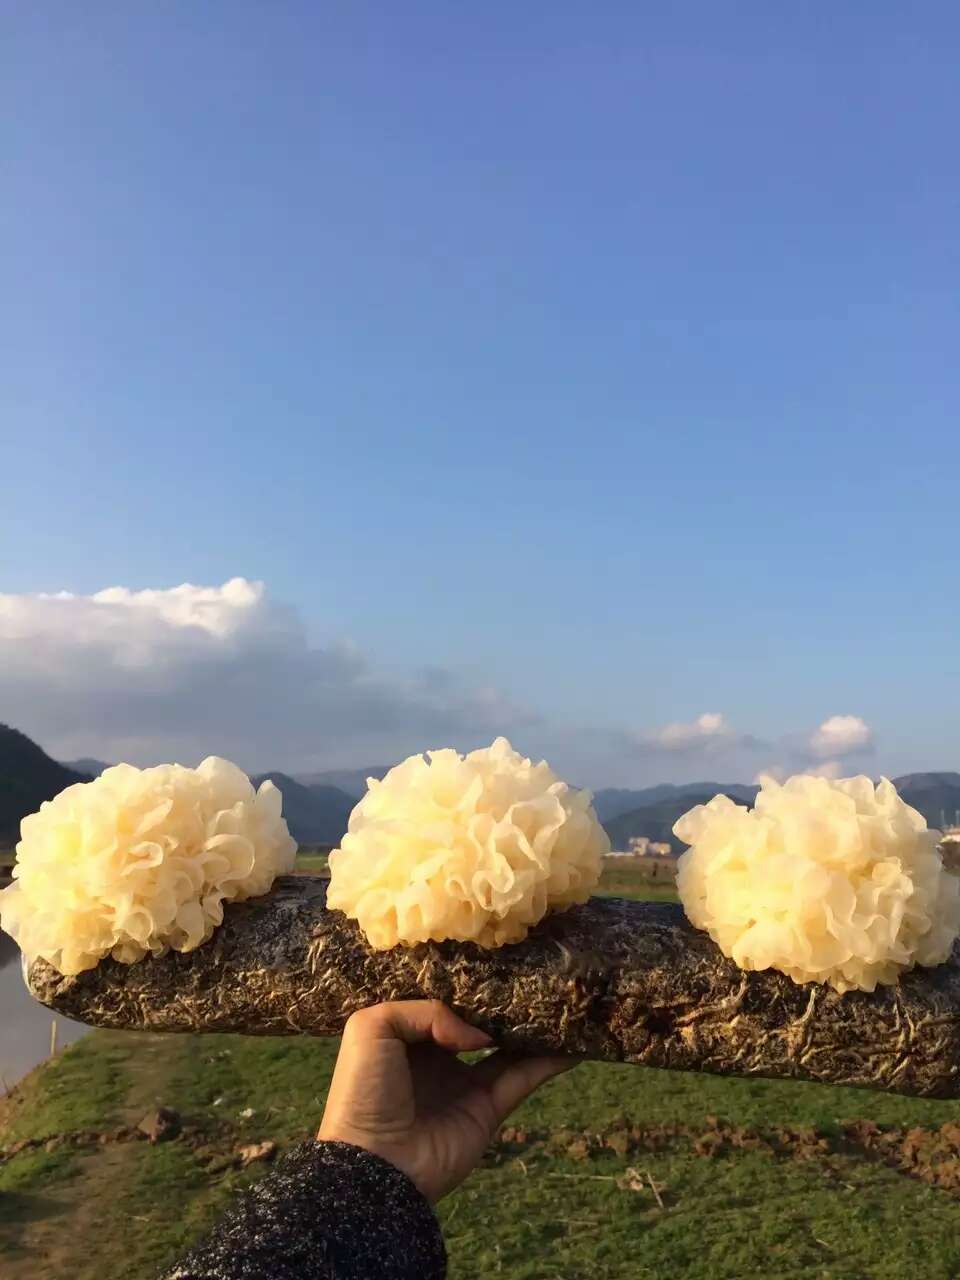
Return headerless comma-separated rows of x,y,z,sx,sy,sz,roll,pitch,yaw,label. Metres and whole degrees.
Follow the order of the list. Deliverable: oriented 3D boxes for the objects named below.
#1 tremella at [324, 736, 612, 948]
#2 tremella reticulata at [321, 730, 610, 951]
-0.031,0.715,3.644,0.981,0.519,0.379,-3,-2,-9,tremella
0.086,0.784,4.045,1.074,0.684,1.188,-8,-24,24,tremella reticulata
